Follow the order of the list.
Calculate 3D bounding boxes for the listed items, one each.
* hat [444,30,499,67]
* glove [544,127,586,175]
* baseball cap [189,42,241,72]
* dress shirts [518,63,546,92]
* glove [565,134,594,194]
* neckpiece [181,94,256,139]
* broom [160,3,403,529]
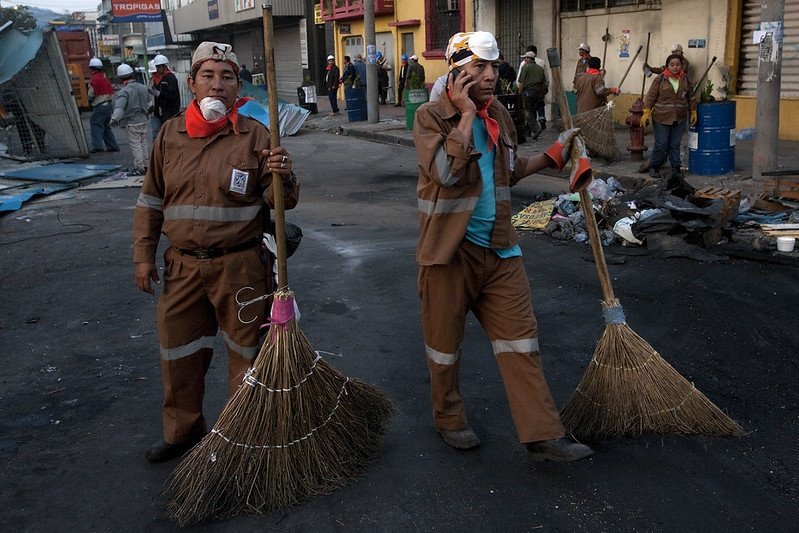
[{"bbox_3d":[0.401,-1.256,3.173,0.265,0.166,0.198,-2,9,43],"label":"hat"},{"bbox_3d":[1.101,-0.746,3.511,0.283,0.289,0.150,-2,3,37],"label":"glove"},{"bbox_3d":[-1.092,-1.209,3.248,0.228,0.141,0.226,-13,14,-38],"label":"baseball cap"},{"bbox_3d":[3.441,-4.924,14.387,0.809,0.740,0.438,1,20,7],"label":"dress shirts"},{"bbox_3d":[1.100,-0.679,3.486,0.158,0.160,0.370,-15,49,13],"label":"glove"},{"bbox_3d":[-1.064,-0.828,3.230,0.291,0.162,0.295,-1,31,12],"label":"neckpiece"},{"bbox_3d":[-0.706,0.422,3.031,1.340,1.749,0.548,-12,20,-25],"label":"broom"}]
